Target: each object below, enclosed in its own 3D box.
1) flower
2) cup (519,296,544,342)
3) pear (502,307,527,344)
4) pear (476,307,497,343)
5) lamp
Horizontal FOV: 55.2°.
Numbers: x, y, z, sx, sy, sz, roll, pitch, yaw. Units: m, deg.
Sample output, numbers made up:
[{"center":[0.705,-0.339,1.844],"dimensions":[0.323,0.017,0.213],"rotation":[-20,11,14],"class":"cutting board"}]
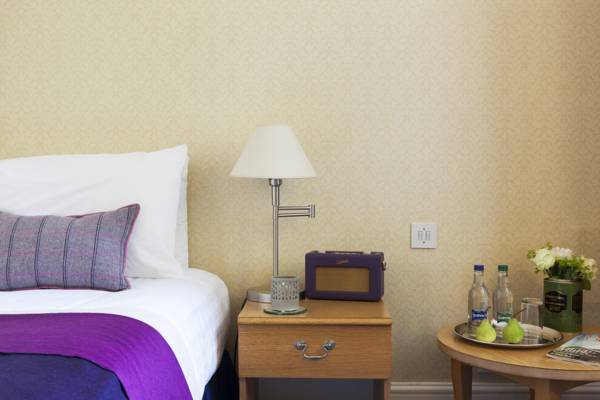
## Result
[{"center":[1.345,0.314,2.935],"dimensions":[0.328,0.191,0.160],"rotation":[-3,-5,21],"class":"flower"},{"center":[1.169,0.587,2.860],"dimensions":[0.105,0.193,0.096],"rotation":[-3,7,0],"class":"cup"},{"center":[1.024,0.594,2.738],"dimensions":[0.087,0.173,0.088],"rotation":[-22,23,-34],"class":"pear"},{"center":[0.894,0.621,2.753],"dimensions":[0.086,0.134,0.091],"rotation":[-3,-1,31],"class":"pear"},{"center":[-0.133,0.045,3.034],"dimensions":[0.444,0.958,0.336],"rotation":[0,-3,0],"class":"lamp"}]
